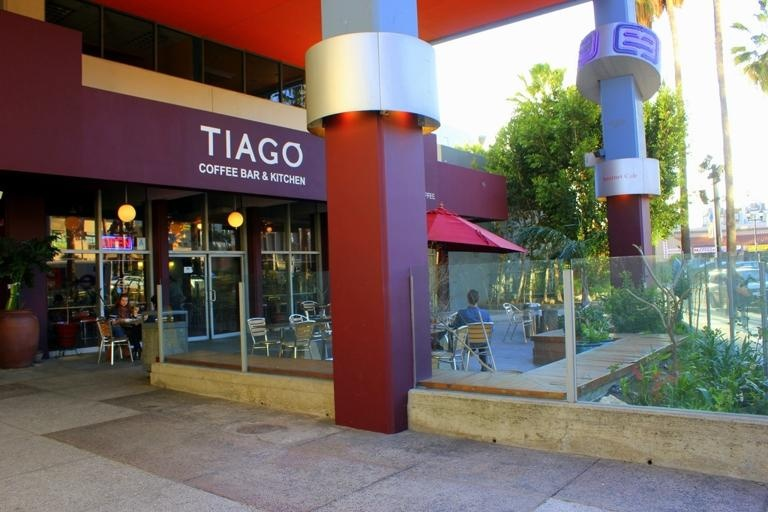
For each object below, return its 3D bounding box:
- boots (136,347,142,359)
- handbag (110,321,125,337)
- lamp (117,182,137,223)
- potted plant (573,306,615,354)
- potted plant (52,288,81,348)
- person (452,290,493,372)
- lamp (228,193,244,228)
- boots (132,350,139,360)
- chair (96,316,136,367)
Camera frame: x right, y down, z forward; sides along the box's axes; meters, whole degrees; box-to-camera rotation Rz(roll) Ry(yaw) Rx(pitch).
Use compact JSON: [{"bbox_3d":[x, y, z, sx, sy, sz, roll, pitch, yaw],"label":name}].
[{"bbox_3d":[-6.365,2.492,15.236,0.224,0.311,0.091,6,0,39],"label":"boots"},{"bbox_3d":[-6.631,1.766,14.633,0.316,0.418,0.236,-6,29,49],"label":"handbag"},{"bbox_3d":[-7.112,-1.394,16.226,0.467,1.022,1.213,-4,6,-24],"label":"lamp"},{"bbox_3d":[2.851,0.952,8.028,0.559,0.580,0.341,-2,5,1],"label":"potted plant"},{"bbox_3d":[-8.263,1.594,15.326,0.780,1.458,0.789,-1,2,-1],"label":"potted plant"},{"bbox_3d":[1.440,1.113,9.250,0.590,1.303,0.446,-6,16,2],"label":"person"},{"bbox_3d":[-4.714,-1.356,18.685,0.525,1.051,1.207,-3,6,-14],"label":"lamp"},{"bbox_3d":[-6.406,2.534,15.214,0.193,0.196,0.196,-8,-13,31],"label":"boots"},{"bbox_3d":[-6.798,2.050,14.867,0.826,1.156,1.760,-4,6,-25],"label":"chair"}]
